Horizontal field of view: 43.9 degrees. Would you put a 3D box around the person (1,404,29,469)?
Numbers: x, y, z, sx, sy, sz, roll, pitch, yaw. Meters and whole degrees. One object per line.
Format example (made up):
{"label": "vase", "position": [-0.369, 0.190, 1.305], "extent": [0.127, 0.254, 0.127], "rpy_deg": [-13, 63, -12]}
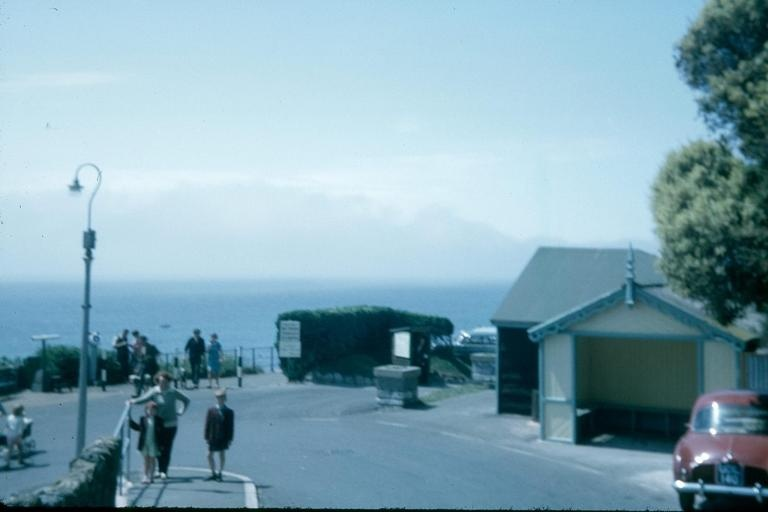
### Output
{"label": "person", "position": [-11.412, 5.580, 29.494], "extent": [0.631, 1.858, 1.015], "rpy_deg": [1, -7, -21]}

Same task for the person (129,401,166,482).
{"label": "person", "position": [-6.823, 5.393, 27.482], "extent": [0.772, 2.326, 0.958], "rpy_deg": [0, -7, -15]}

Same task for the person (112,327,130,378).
{"label": "person", "position": [-10.381, 3.875, 37.727], "extent": [0.636, 1.808, 1.444], "rpy_deg": [0, -7, -16]}
